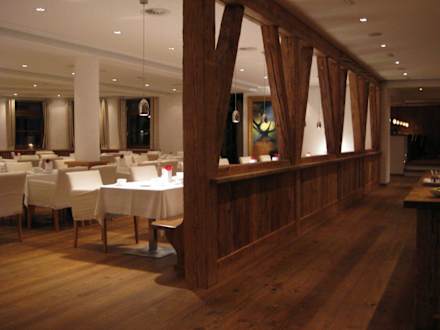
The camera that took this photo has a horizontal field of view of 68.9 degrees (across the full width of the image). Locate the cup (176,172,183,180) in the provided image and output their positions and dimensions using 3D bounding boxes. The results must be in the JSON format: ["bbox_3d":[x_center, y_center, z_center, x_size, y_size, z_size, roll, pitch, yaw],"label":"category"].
[{"bbox_3d":[-0.624,0.171,5.061,0.105,0.137,0.110,0,7,0],"label":"cup"}]

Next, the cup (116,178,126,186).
[{"bbox_3d":[-1.414,0.246,4.667,0.107,0.089,0.131,5,9,25],"label":"cup"}]
